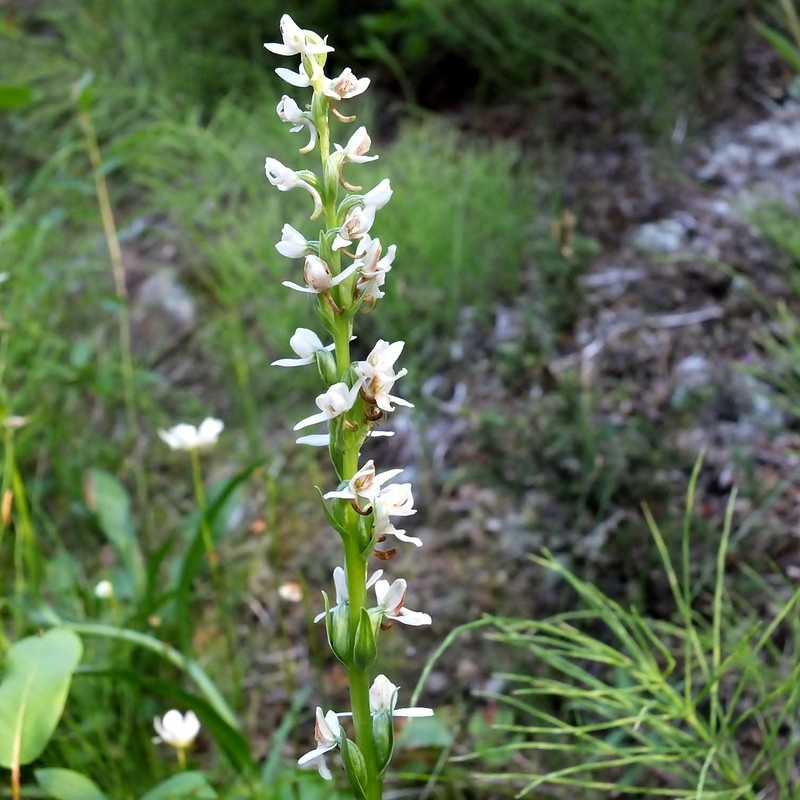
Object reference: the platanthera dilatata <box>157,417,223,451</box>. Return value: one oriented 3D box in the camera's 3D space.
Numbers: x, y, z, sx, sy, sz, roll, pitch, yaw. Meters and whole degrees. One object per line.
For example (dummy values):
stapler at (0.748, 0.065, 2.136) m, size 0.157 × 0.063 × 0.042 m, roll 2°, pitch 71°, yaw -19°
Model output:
platanthera dilatata at (-0.426, 0.096, 1.827) m, size 0.118 × 0.064 × 0.123 m, roll -5°, pitch 18°, yaw -10°
